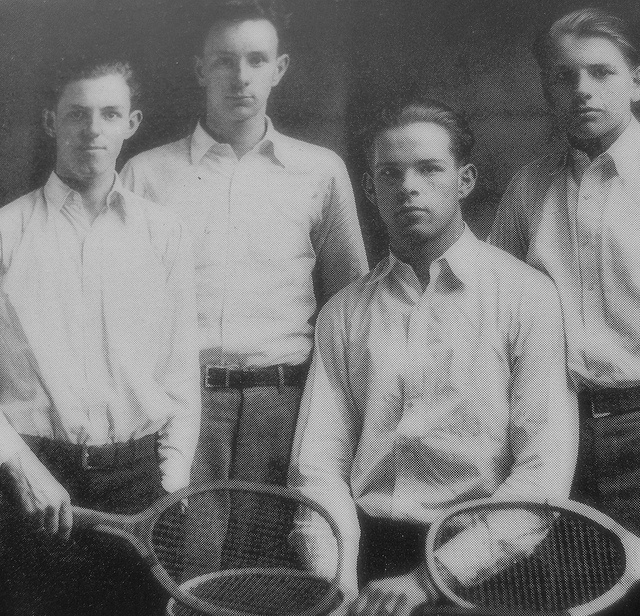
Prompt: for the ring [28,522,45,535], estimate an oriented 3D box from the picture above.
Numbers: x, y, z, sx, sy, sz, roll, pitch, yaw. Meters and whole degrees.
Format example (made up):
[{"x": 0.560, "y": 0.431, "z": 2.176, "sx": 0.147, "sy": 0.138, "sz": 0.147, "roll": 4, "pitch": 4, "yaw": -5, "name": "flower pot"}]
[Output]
[{"x": -0.755, "y": 0.578, "z": 2.707, "sx": 0.034, "sy": 0.034, "sz": 0.008, "roll": 20, "pitch": 53, "yaw": 33, "name": "ring"}]
